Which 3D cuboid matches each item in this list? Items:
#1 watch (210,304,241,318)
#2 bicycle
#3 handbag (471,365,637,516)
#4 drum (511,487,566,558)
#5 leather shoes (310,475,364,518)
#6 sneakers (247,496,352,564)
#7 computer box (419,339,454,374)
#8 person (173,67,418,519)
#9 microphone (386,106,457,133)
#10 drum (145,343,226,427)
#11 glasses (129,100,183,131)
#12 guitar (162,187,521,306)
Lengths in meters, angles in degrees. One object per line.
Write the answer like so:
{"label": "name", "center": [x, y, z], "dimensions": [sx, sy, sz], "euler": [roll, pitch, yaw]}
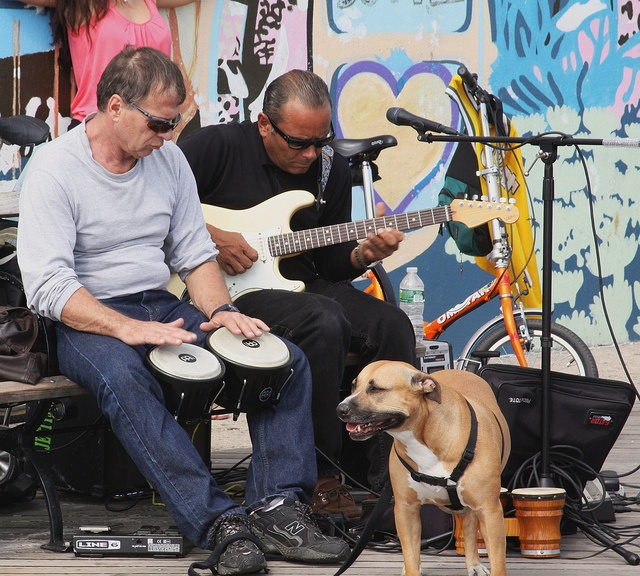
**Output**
{"label": "watch", "center": [-0.362, 0.090, 3.351], "dimensions": [0.085, 0.021, 0.057], "euler": [-21, -5, 6]}
{"label": "bicycle", "center": [0.768, -0.320, 5.302], "dimensions": [1.423, 1.921, 1.548], "euler": [13, 18, 40]}
{"label": "handbag", "center": [0.928, 0.537, 3.319], "dimensions": [0.572, 0.484, 0.227], "euler": [9, 5, 5]}
{"label": "drum", "center": [0.785, 0.814, 3.181], "dimensions": [0.257, 0.230, 0.233], "euler": [1, 6, 20]}
{"label": "leather shoes", "center": [0.056, 0.817, 3.447], "dimensions": [0.203, 0.070, 0.127], "euler": [3, -1, 40]}
{"label": "sneakers", "center": [-0.096, 0.856, 3.131], "dimensions": [0.433, 0.171, 0.153], "euler": [9, -13, 18]}
{"label": "computer box", "center": [0.602, 0.349, 4.556], "dimensions": [0.207, 0.177, 0.166], "euler": [0, -3, -36]}
{"label": "person", "center": [0.020, -0.029, 4.037], "dimensions": [1.181, 1.870, 1.033], "euler": [-2, 4, -40]}
{"label": "microphone", "center": [0.404, -0.701, 3.740], "dimensions": [0.351, 0.138, 0.221], "euler": [7, 13, 29]}
{"label": "drum", "center": [-0.466, 0.346, 3.011], "dimensions": [0.251, 0.278, 0.235], "euler": [-2, 6, -25]}
{"label": "glasses", "center": [-0.586, -0.623, 3.172], "dimensions": [0.118, 0.036, 0.116], "euler": [39, 21, 16]}
{"label": "guitar", "center": [0.162, -0.306, 4.291], "dimensions": [1.212, 0.563, 1.113], "euler": [6, 13, -3]}
